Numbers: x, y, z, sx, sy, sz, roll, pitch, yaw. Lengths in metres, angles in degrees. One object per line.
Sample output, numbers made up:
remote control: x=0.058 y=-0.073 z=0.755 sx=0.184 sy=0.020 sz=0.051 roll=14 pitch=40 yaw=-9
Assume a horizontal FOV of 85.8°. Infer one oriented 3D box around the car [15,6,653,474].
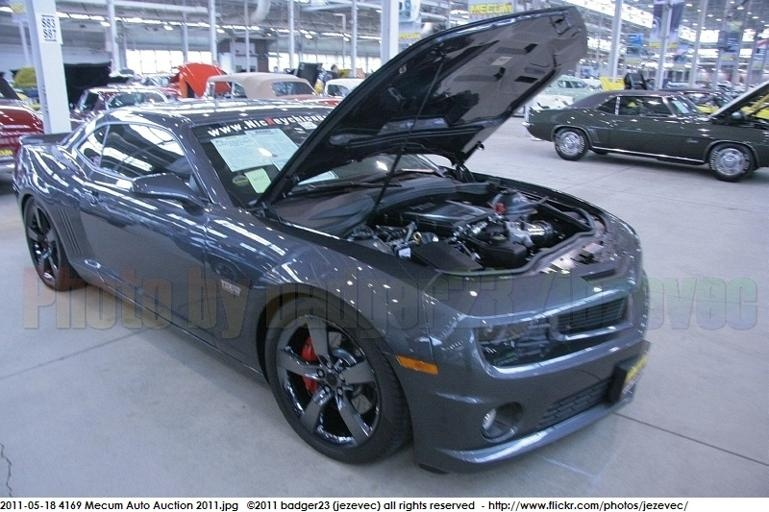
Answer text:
car: x=-0.813 y=-0.362 z=3.245 sx=4.914 sy=1.762 sz=2.209 roll=16 pitch=26 yaw=36
